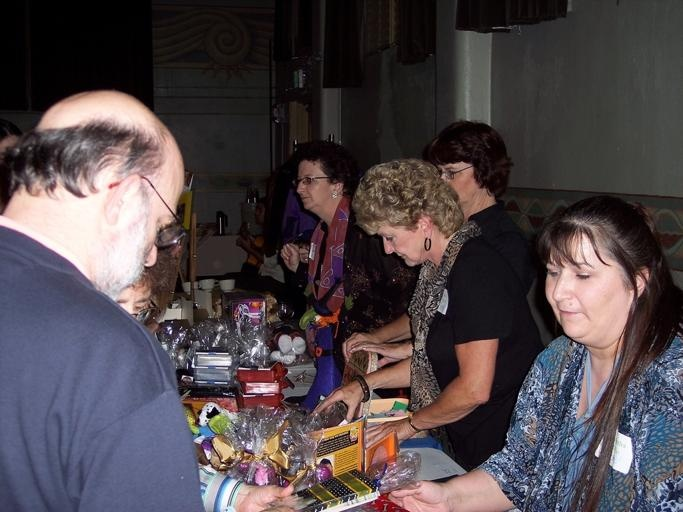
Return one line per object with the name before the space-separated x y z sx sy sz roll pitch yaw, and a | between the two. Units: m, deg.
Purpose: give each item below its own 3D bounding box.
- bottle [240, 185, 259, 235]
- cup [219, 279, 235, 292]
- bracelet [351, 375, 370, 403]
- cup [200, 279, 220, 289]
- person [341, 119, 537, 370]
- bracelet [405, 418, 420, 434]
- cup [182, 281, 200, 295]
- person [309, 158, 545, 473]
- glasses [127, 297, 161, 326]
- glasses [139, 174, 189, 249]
bottle | -1.215 -0.671 7.832 0.274 0.638 0.286 6 22 -2
cup | -0.703 0.186 3.732 0.084 0.062 0.074 3 -6 -14
bracelet | 0.069 0.452 2.073 0.025 0.075 0.057 -22 10 -33
cup | -0.820 0.174 3.740 0.055 0.057 0.083 3 -12 -24
person | 0.473 -0.055 2.905 0.817 1.125 0.673 -8 15 -9
bracelet | 0.238 0.568 2.038 0.018 0.050 0.042 -33 -6 -24
cup | -0.906 0.177 3.594 0.079 0.067 0.091 -1 -15 -3
person | 0.308 0.254 2.173 0.751 1.169 0.600 -14 23 -16
glasses | -0.539 0.145 1.645 0.067 0.024 0.069 32 13 16
glasses | -0.365 -0.090 1.288 0.030 0.109 0.099 -24 0 -26
